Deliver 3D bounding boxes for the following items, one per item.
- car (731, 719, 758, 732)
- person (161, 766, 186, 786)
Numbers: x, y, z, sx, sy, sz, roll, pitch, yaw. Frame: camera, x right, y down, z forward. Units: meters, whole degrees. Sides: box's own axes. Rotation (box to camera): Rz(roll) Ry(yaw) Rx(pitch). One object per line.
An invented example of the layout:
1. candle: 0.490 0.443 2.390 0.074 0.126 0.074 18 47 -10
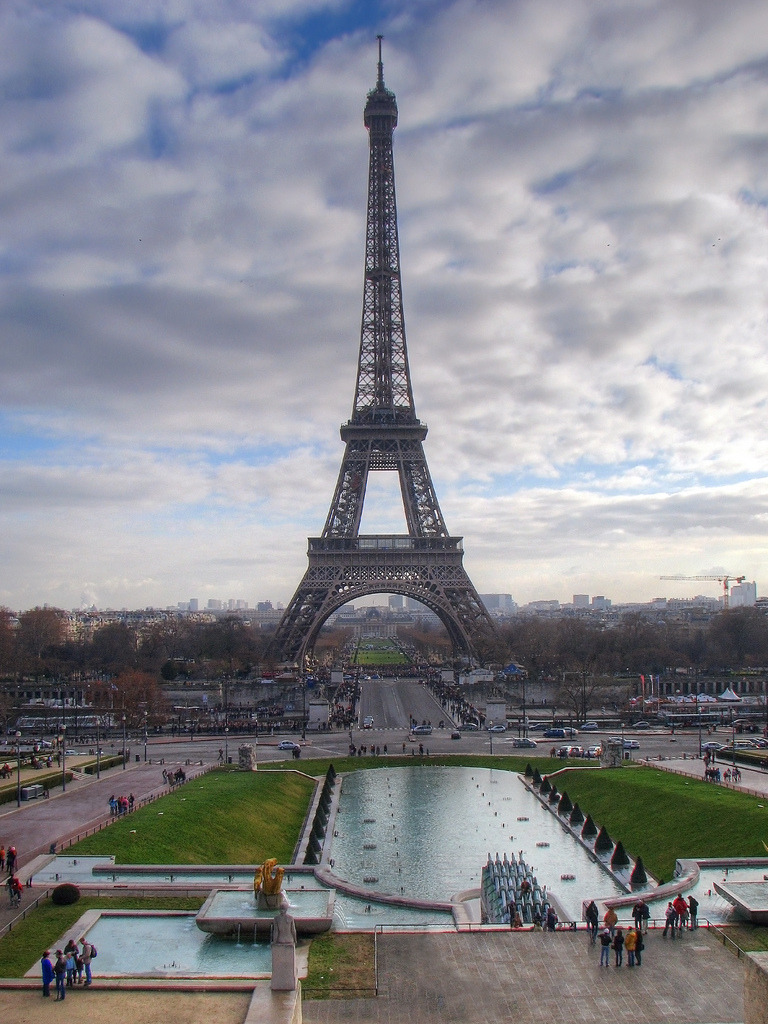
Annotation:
1. car: 28.243 16.769 81.346 1.766 0.922 1.626 0 -12 9
2. person: -10.760 13.726 53.915 1.211 0.637 1.123 0 1 -22
